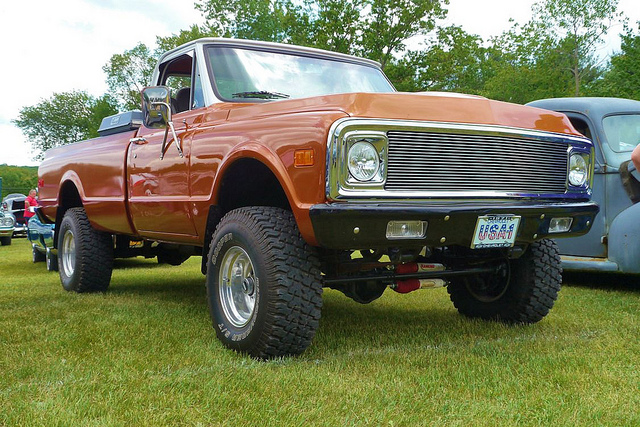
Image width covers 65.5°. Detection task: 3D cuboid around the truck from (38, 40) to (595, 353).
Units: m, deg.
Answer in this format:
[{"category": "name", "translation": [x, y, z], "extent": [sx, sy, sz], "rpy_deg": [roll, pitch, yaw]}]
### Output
[{"category": "truck", "translation": [-0.514, -0.343, 5.900], "extent": [3.209, 2.461, 5.738], "rpy_deg": [2, -1, -38]}]
